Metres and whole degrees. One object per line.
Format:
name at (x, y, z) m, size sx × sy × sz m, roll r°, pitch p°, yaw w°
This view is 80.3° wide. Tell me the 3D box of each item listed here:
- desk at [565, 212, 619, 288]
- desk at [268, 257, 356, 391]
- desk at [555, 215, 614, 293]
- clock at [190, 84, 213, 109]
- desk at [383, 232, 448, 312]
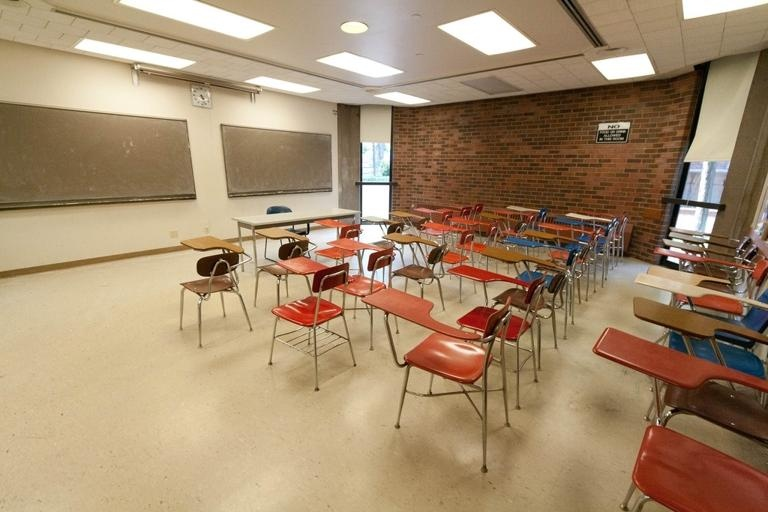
desk at (3.532, -0.085, 7.684) m, size 0.519 × 0.821 × 1.323 m, roll 4°, pitch 12°, yaw 26°
desk at (-0.863, 0.716, 5.419) m, size 1.011 × 1.328 × 1.155 m, roll -1°, pitch 14°, yaw -14°
desk at (3.290, -0.023, 7.414) m, size 0.507 × 0.794 × 1.293 m, roll 14°, pitch 23°, yaw 40°
clock at (-3.412, -2.977, 8.409) m, size 0.053 × 0.456 × 0.499 m, roll 12°, pitch 17°, yaw 42°
desk at (0.411, 0.271, 6.533) m, size 0.793 × 0.970 × 0.674 m, roll 12°, pitch 13°, yaw 17°
